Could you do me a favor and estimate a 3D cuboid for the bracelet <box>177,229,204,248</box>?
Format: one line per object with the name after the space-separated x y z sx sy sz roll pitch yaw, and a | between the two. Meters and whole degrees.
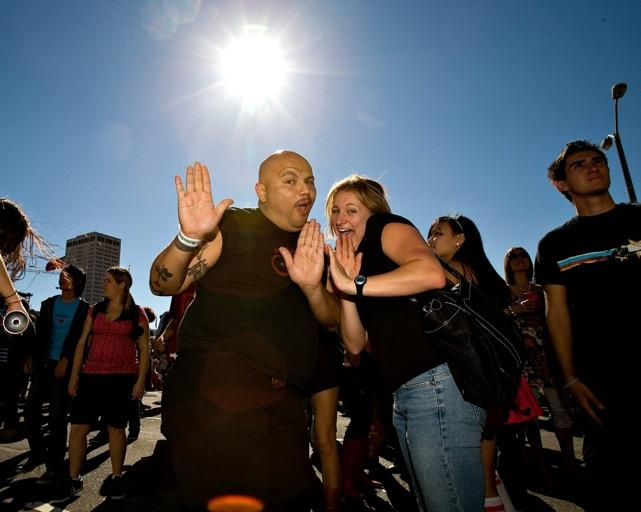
-0.829 -0.106 2.406 0.109 0.069 0.110 31 5 31 | bracelet

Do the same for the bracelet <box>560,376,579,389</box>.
2.078 1.038 3.163 0.097 0.028 0.104 -41 -11 19 | bracelet

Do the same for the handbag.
0.984 0.450 2.533 0.643 0.891 0.448 -15 -17 -43 | handbag

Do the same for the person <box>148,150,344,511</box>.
-0.359 0.473 2.700 1.460 2.645 0.469 7 -10 -34 | person

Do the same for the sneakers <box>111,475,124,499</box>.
-2.299 2.606 4.323 0.164 0.165 0.270 7 -11 -28 | sneakers

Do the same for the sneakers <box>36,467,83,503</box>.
-2.947 2.593 4.291 0.260 0.246 0.626 -37 -31 2 | sneakers
